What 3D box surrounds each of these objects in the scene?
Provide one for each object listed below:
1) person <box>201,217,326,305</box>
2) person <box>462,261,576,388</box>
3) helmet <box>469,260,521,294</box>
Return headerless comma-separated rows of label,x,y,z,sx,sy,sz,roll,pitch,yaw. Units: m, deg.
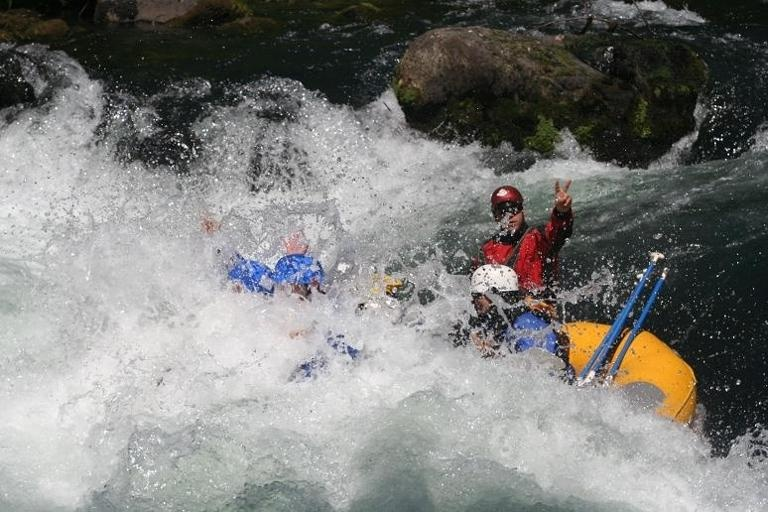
person,-1.604,0.178,15.107,1.203,0.539,0.916,13,64,5
person,1.926,0.872,14.798,1.545,0.417,1.287,14,71,7
helmet,1.558,0.341,14.917,0.533,0.412,0.453,-5,96,8
